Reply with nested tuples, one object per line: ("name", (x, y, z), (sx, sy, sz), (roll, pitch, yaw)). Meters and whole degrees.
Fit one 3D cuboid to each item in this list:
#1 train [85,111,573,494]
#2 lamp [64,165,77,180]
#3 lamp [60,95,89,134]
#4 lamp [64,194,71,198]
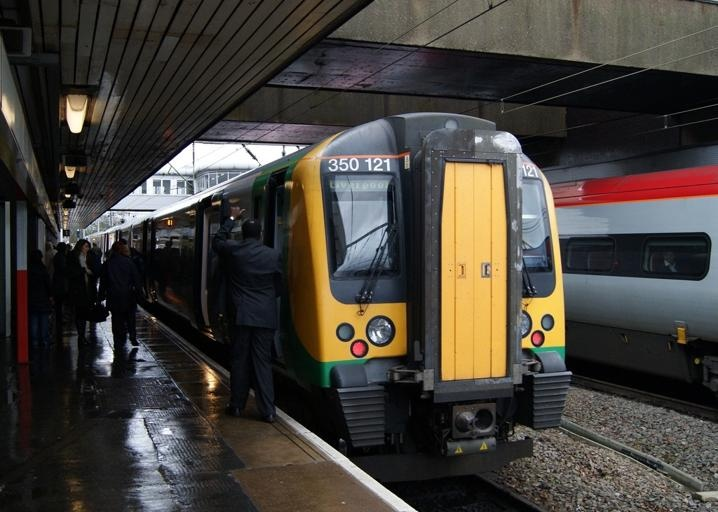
("train", (-1.332, -0.009, 10.983), (2.242, 3.523, 11.675), (1, 3, -25))
("lamp", (-7.639, -2.201, 15.041), (0.201, 0.292, 0.232), (1, -7, -13))
("lamp", (-4.775, -2.307, 9.778), (0.388, 0.774, 0.476), (6, 2, -7))
("lamp", (-11.469, -2.332, 22.447), (0.229, 0.071, 2.148), (-1, 2, -27))
